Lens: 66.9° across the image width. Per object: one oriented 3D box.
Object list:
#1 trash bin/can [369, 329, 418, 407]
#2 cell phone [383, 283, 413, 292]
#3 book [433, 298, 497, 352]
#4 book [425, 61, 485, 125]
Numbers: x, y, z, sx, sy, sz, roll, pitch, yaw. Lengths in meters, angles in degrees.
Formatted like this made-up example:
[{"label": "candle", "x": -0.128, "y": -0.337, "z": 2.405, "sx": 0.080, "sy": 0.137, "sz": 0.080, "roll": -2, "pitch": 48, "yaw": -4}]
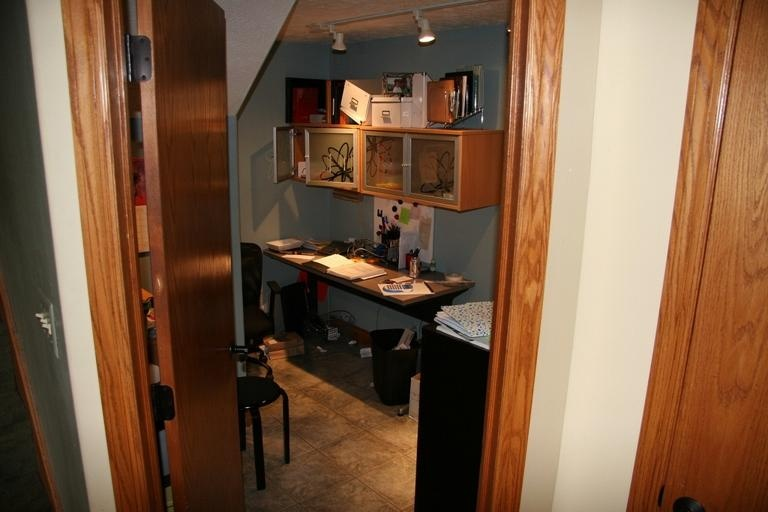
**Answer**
[{"label": "trash bin/can", "x": 0.026, "y": 0.781, "z": 4.401, "sx": 0.429, "sy": 0.533, "sz": 0.748, "roll": 0, "pitch": 4, "yaw": -11}, {"label": "cell phone", "x": 0.099, "y": 0.222, "z": 4.059, "sx": 0.143, "sy": 0.019, "sz": 0.078, "roll": -3, "pitch": 12, "yaw": -23}, {"label": "book", "x": 0.378, "y": 0.283, "z": 2.455, "sx": 0.211, "sy": 0.063, "sz": 0.200, "roll": -8, "pitch": 14, "yaw": -42}, {"label": "book", "x": 0.489, "y": -1.082, "z": 3.929, "sx": 0.390, "sy": 0.395, "sz": 0.223, "roll": -7, "pitch": 14, "yaw": -26}]
